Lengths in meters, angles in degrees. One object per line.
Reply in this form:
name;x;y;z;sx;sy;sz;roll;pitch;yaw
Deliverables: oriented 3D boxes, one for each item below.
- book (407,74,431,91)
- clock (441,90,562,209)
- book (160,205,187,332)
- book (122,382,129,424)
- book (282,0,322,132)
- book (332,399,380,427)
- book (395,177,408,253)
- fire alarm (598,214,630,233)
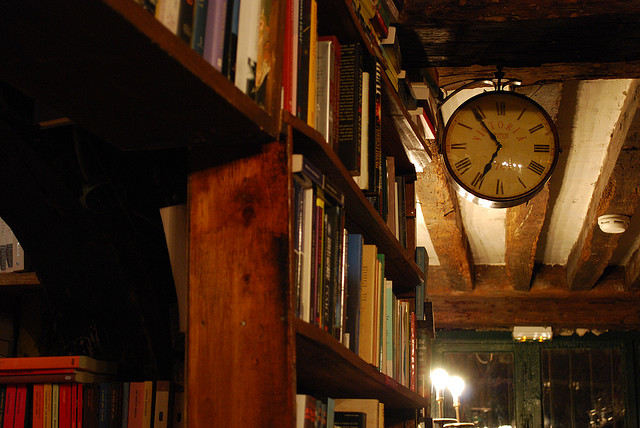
book;0.425;-0.575;4.217;0.070;0.070;0.018;0;-39;-8
clock;0.824;-0.316;4.409;0.513;0.093;0.640;2;-47;10
book;-0.436;0.163;2.900;0.055;0.447;0.089;-9;-17;14
book;-0.585;0.567;2.902;0.018;0.089;0.082;1;-5;-8
book;-0.062;-0.451;2.984;0.108;0.376;0.361;0;-11;7
book;0.134;0.729;3.546;0.145;0.148;0.052;-3;-15;16
book;0.337;0.010;4.044;0.087;0.296;0.295;-1;-2;5
fire alarm;1.752;0.053;5.779;0.163;0.102;0.181;-2;-21;8
